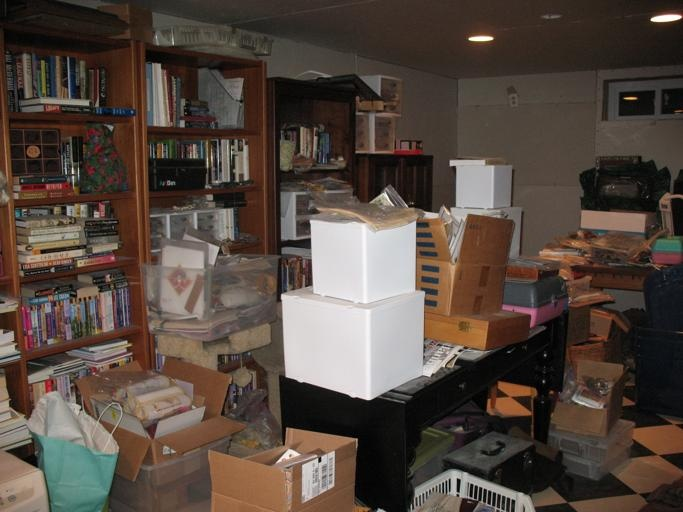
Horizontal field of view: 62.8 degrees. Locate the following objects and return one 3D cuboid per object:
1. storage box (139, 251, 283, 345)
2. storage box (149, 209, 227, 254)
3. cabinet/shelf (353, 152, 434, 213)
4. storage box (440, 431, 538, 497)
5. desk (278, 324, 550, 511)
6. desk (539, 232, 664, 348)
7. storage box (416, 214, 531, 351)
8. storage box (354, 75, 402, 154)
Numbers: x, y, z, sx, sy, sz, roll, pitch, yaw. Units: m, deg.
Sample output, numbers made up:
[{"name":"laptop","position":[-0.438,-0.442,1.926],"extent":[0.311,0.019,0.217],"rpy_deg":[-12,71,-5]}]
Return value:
[{"name":"storage box","position":[-0.731,0.180,3.217],"extent":[0.563,0.341,0.573],"rpy_deg":[5,9,37]},{"name":"storage box","position":[-1.070,-0.195,3.949],"extent":[0.135,0.299,0.624],"rpy_deg":[8,14,40]},{"name":"cabinet/shelf","position":[0.565,-0.743,5.750],"extent":[0.303,0.633,1.328],"rpy_deg":[6,13,34]},{"name":"storage box","position":[0.768,1.030,2.917],"extent":[0.433,0.297,0.317],"rpy_deg":[-6,7,-44]},{"name":"desk","position":[0.322,0.384,2.797],"extent":[0.651,0.830,1.272],"rpy_deg":[7,13,37]},{"name":"desk","position":[2.110,0.272,4.509],"extent":[0.852,0.781,0.622],"rpy_deg":[-14,18,-41]},{"name":"storage box","position":[0.605,0.030,3.022],"extent":[0.627,0.664,0.706],"rpy_deg":[10,14,43]},{"name":"storage box","position":[0.363,-1.432,5.671],"extent":[0.382,0.763,0.682],"rpy_deg":[2,12,18]}]
